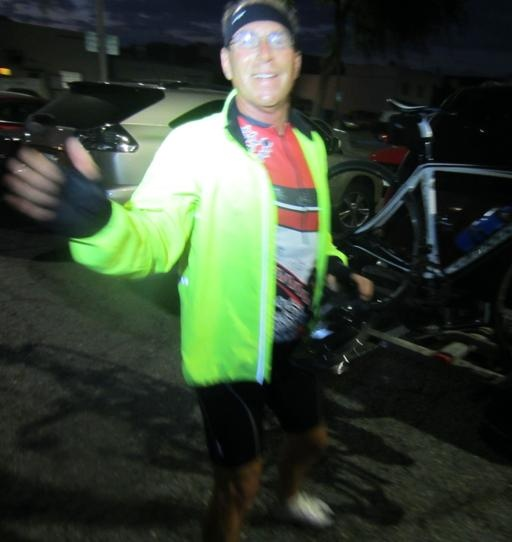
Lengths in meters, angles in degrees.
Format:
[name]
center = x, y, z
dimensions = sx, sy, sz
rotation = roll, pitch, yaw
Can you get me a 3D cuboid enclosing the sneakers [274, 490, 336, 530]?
[sneakers]
center = 0.206, 0.998, 2.006
dimensions = 0.246, 0.228, 0.123
rotation = 0, 32, 9
